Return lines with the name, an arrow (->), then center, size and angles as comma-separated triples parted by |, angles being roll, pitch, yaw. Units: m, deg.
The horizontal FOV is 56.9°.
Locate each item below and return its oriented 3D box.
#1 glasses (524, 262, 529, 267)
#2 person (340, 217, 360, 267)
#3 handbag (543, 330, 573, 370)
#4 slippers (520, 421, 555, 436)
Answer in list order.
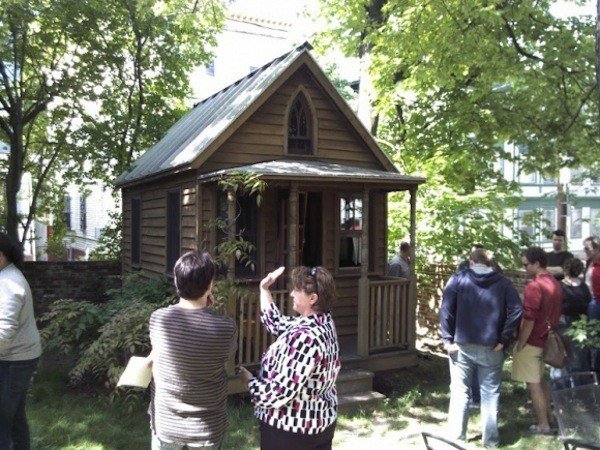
glasses -> 3.714, 0.644, 9.044 | 0.072, 0.041, 0.041 | -10, -38, -34
person -> 1.130, 0.381, 12.388 | 0.526, 1.078, 0.127 | -2, 4, -34
handbag -> 4.095, 1.955, 8.706 | 0.482, 0.568, 0.216 | 0, 4, -11
slippers -> 3.928, 3.329, 8.970 | 0.343, 0.135, 0.194 | 7, -5, 11
